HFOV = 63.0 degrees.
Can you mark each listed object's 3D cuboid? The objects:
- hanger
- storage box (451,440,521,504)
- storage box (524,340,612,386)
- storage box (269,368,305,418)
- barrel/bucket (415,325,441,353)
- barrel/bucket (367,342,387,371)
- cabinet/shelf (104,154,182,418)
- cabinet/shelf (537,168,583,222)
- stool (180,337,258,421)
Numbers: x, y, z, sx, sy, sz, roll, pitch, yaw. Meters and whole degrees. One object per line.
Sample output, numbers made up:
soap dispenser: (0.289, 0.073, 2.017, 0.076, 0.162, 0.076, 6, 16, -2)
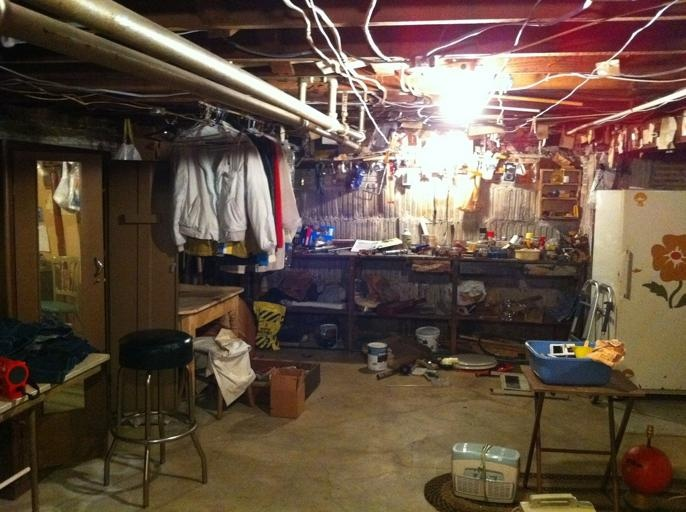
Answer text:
hanger: (-1.086, -1.104, 5.002, 0.559, 0.207, 0.725, 3, 3, 9)
storage box: (1.104, 1.573, 4.283, 0.625, 0.379, 0.407, 1, 6, 19)
storage box: (1.746, 0.831, 4.256, 0.567, 0.197, 0.652, 23, -10, 13)
storage box: (-0.557, 1.367, 5.520, 0.297, 0.405, 0.261, 2, 12, 7)
barrel/bucket: (1.142, 1.093, 7.374, 0.351, 0.212, 0.326, -1, 3, 0)
barrel/bucket: (0.419, 1.237, 6.928, 0.339, 0.286, 0.306, 0, 2, -25)
cabinet/shelf: (-1.860, 0.265, 5.273, 0.812, 2.408, 0.391, -11, -16, 18)
cabinet/shelf: (2.884, -0.822, 7.436, 0.556, 0.611, 0.195, 4, 14, 21)
stool: (-1.261, 1.136, 5.719, 0.705, 0.570, 0.776, -2, 2, -21)
